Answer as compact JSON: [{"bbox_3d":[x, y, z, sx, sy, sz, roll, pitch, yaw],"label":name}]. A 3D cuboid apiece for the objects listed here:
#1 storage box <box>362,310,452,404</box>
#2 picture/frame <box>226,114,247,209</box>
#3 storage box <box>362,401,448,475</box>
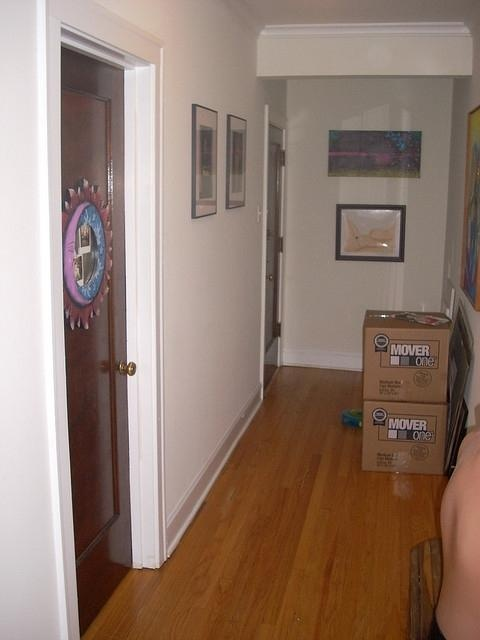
[{"bbox_3d":[1.047,0.138,3.305,0.409,0.650,0.473,1,7,18],"label":"storage box"},{"bbox_3d":[-0.064,-1.004,3.240,0.013,0.517,0.407,11,19,26],"label":"picture/frame"},{"bbox_3d":[1.041,0.734,3.230,0.369,0.573,0.449,3,3,10],"label":"storage box"}]
